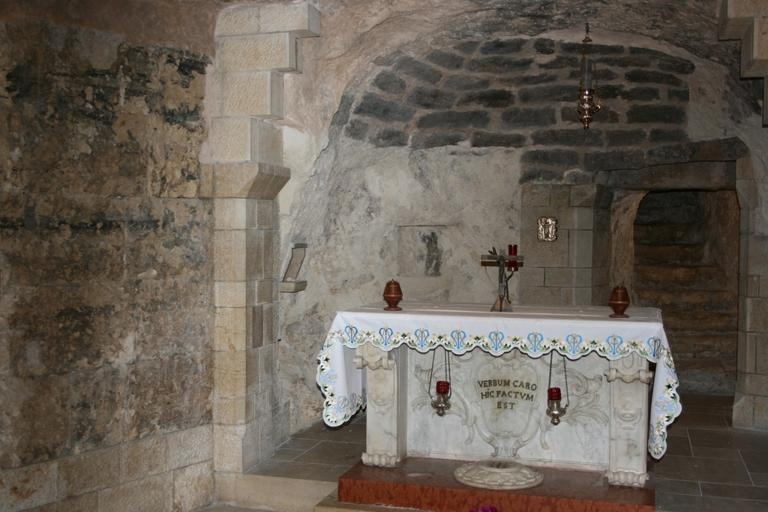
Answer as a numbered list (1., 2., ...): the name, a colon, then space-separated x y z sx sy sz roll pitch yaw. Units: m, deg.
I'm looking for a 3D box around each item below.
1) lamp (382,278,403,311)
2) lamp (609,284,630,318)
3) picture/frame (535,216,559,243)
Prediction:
1. lamp: 0.084 0.341 8.054 0.214 0.314 0.217 0 -5 5
2. lamp: 1.884 0.364 7.666 0.156 0.247 0.152 1 1 -10
3. picture/frame: 1.779 -0.304 10.395 0.272 0.329 0.034 1 13 10
